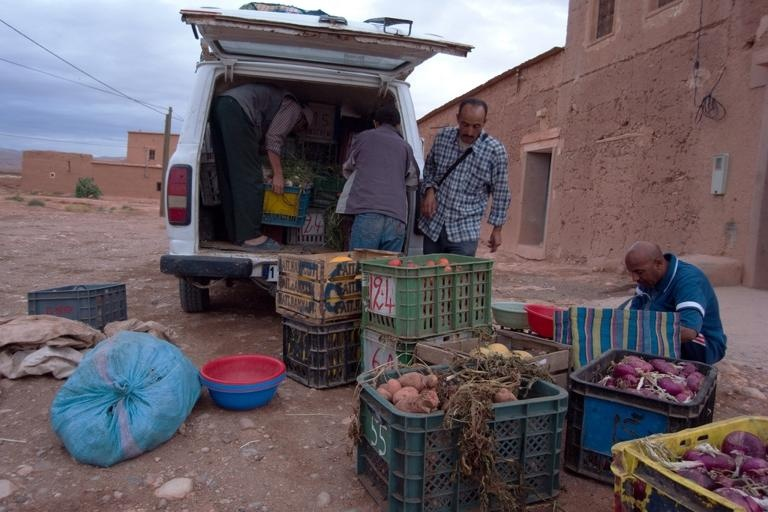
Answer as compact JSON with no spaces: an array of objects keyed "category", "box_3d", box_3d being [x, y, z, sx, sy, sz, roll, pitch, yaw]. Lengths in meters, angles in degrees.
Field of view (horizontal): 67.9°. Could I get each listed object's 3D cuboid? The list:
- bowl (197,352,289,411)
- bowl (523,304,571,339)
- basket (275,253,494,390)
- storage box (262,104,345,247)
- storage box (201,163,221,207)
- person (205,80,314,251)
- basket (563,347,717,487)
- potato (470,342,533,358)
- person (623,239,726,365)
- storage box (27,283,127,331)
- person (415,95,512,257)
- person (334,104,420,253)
[{"category":"bowl","box_3d":[-1.197,1.070,4.812,0.679,0.396,0.447,2,4,-17]},{"category":"bowl","box_3d":[1.426,0.584,5.177,0.292,0.288,0.732,4,3,11]},{"category":"basket","box_3d":[0.015,0.465,5.462,1.681,1.258,1.637,1,4,-35]},{"category":"storage box","box_3d":[-1.099,-1.241,7.747,1.218,1.902,0.633,4,-15,-14]},{"category":"storage box","box_3d":[-2.163,-0.878,7.086,0.334,0.475,0.156,-5,12,-14]},{"category":"person","box_3d":[-1.435,-1.092,7.103,1.365,1.981,0.921,-5,16,-37]},{"category":"basket","box_3d":[1.941,1.198,4.309,0.786,0.626,1.032,3,3,40]},{"category":"potato","box_3d":[0.976,0.780,4.675,0.278,0.069,0.255,2,-3,-8]},{"category":"person","box_3d":[2.455,0.404,4.874,0.715,1.021,0.750,6,5,38]},{"category":"storage box","box_3d":[-3.013,0.478,5.777,0.520,0.334,0.791,-1,-2,-4]},{"category":"person","box_3d":[0.924,-0.738,6.220,0.746,2.001,0.711,2,1,42]},{"category":"person","box_3d":[-0.068,-0.738,6.026,0.847,1.336,0.414,3,5,1]}]
